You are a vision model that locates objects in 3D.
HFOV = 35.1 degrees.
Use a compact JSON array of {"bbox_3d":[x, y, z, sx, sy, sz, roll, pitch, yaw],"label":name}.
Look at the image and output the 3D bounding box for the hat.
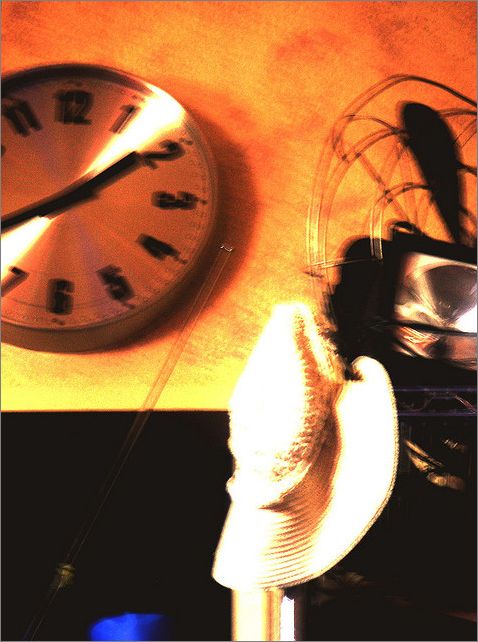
[{"bbox_3d":[0.132,0.229,1.359,0.306,0.480,0.251,5,22,3],"label":"hat"}]
